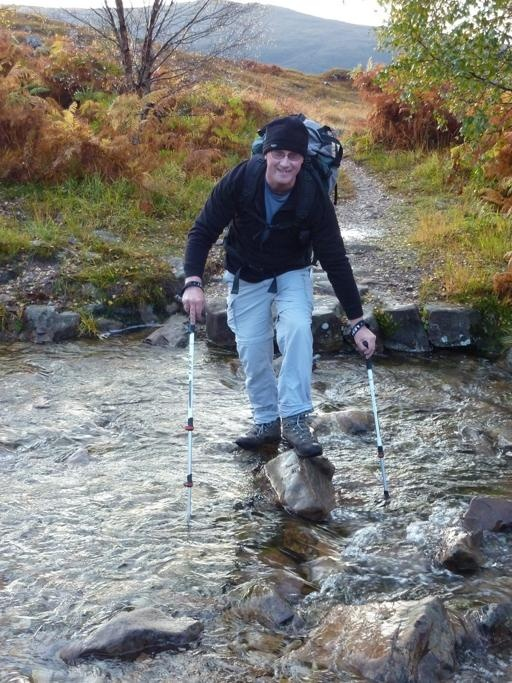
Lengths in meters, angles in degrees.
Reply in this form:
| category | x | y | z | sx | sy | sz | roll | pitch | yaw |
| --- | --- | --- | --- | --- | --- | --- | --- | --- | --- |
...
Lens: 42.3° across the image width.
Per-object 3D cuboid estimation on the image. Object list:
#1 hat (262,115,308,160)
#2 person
| category | x | y | z | sx | sy | sz | roll | pitch | yaw |
| --- | --- | --- | --- | --- | --- | --- | --- | --- | --- |
| hat | 0.185 | -1.261 | 4.065 | 0.236 | 0.237 | 0.299 | 5 | 18 | -13 |
| person | 0.141 | -0.281 | 4.532 | 1.184 | 2.391 | 0.953 | 2 | 6 | 19 |
